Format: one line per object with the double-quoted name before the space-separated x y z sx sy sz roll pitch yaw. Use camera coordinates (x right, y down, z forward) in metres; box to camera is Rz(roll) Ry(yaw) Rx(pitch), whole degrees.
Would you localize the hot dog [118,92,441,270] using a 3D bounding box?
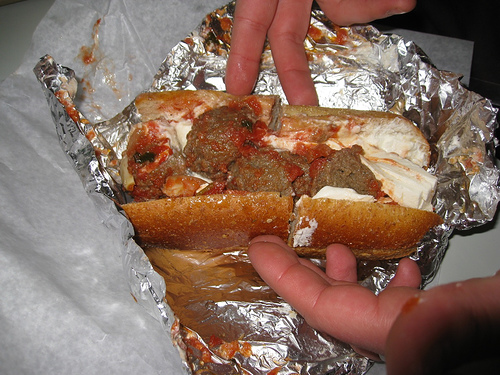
"hot dog" 0.199 -0.063 3.718 1.990 0.728 1.235 3 79 0
